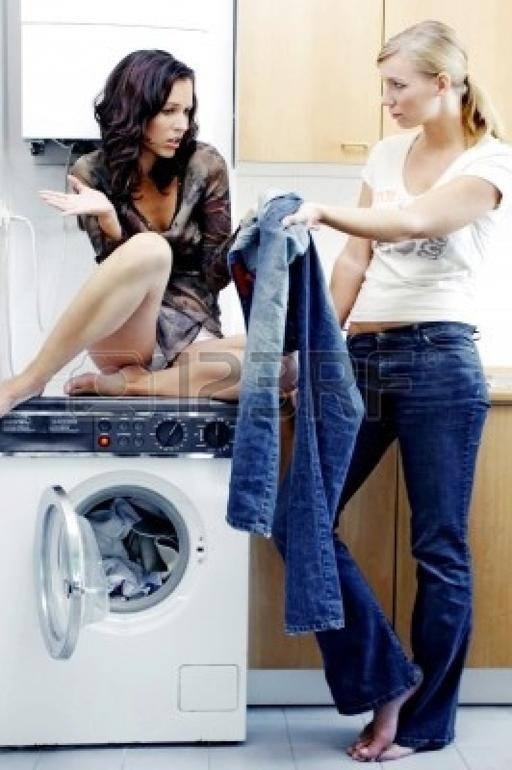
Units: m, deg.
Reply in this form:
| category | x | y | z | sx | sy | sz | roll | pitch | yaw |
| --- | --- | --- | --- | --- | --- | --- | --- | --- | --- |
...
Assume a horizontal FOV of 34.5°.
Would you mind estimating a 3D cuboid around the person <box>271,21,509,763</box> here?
| category | x | y | z | sx | sy | sz | roll | pitch | yaw |
| --- | --- | --- | --- | --- | --- | --- | --- | --- | --- |
| person | 0.305 | 0.030 | 1.684 | 0.374 | 1.464 | 0.477 | 3 | 16 | 15 |
